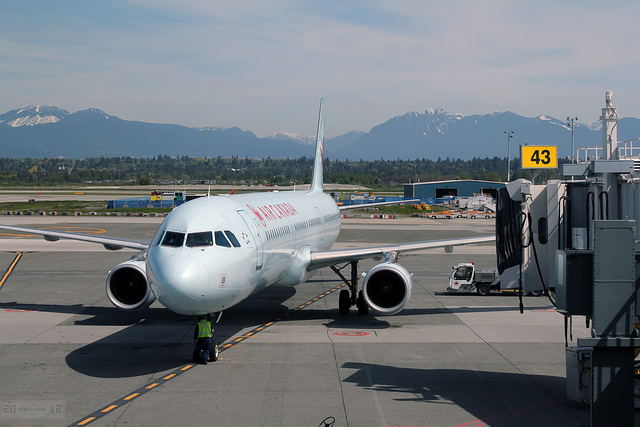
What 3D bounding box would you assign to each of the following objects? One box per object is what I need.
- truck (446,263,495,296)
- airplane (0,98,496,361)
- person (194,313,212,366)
[{"bbox_3d":[10.156,4.069,43.391,3.880,1.720,2.525,1,2,15],"label":"truck"},{"bbox_3d":[-1.315,1.928,36.430,19.235,6.254,19.371,0,1,11],"label":"airplane"},{"bbox_3d":[-5.056,5.379,29.255,0.648,2.056,0.589,-1,10,-6],"label":"person"}]
